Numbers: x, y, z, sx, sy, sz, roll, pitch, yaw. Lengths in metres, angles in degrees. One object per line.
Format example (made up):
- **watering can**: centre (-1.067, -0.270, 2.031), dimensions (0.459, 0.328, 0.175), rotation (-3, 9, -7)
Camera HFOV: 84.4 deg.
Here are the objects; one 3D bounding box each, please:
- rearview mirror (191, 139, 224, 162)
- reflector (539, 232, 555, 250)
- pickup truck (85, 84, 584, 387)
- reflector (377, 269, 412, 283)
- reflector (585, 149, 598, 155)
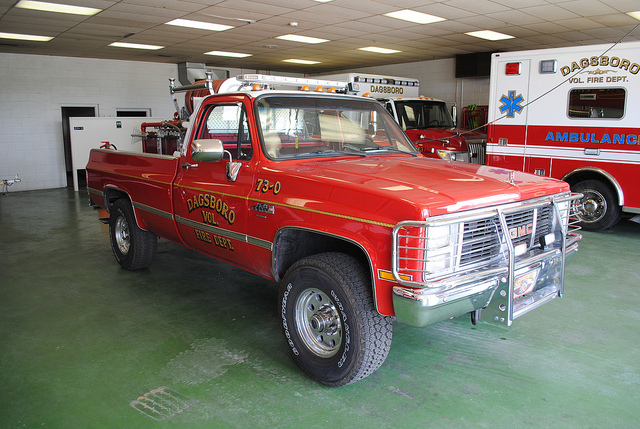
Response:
- **rearview mirror**: centre (-1.159, -0.651, 3.633), dimensions (0.320, 0.191, 0.214), rotation (-6, 17, -19)
- **reflector**: centre (2.142, 0.247, 3.355), dimensions (0.114, 0.146, 0.263), rotation (10, 17, 35)
- **pickup truck**: centre (-0.855, -0.230, 4.987), dimensions (6.923, 2.750, 2.335), rotation (11, 19, 40)
- **reflector**: centre (0.549, 0.471, 2.649), dimensions (0.272, 0.087, 0.032), rotation (7, 18, 30)
- **reflector**: centre (5.600, -1.299, 7.339), dimensions (0.216, 0.105, 0.024), rotation (8, 19, 30)
